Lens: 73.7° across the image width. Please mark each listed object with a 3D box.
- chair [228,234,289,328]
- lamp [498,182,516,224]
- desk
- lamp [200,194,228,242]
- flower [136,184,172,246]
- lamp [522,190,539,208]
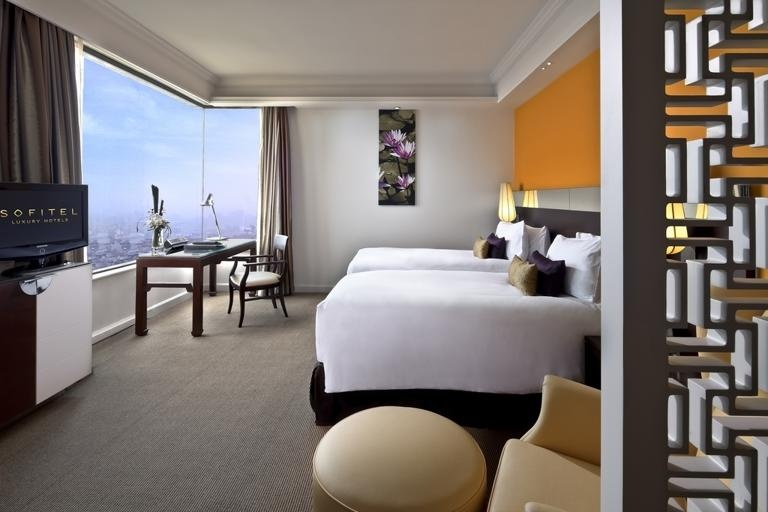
[{"bbox_3d":[-1.370,0.222,5.591,0.613,0.918,0.642,-4,9,-37],"label":"chair"},{"bbox_3d":[1.572,-0.685,6.503,0.228,0.482,0.532,3,12,12],"label":"lamp"},{"bbox_3d":[-2.106,0.286,6.049,0.733,0.884,2.441,9,6,-4],"label":"desk"},{"bbox_3d":[-2.196,-0.510,6.609,0.304,0.639,0.736,-3,12,-19],"label":"lamp"},{"bbox_3d":[-2.297,-0.382,5.199,0.311,0.654,0.294,-2,2,-27],"label":"flower"},{"bbox_3d":[1.694,-0.661,5.919,0.121,0.248,0.241,2,1,-7],"label":"lamp"}]
